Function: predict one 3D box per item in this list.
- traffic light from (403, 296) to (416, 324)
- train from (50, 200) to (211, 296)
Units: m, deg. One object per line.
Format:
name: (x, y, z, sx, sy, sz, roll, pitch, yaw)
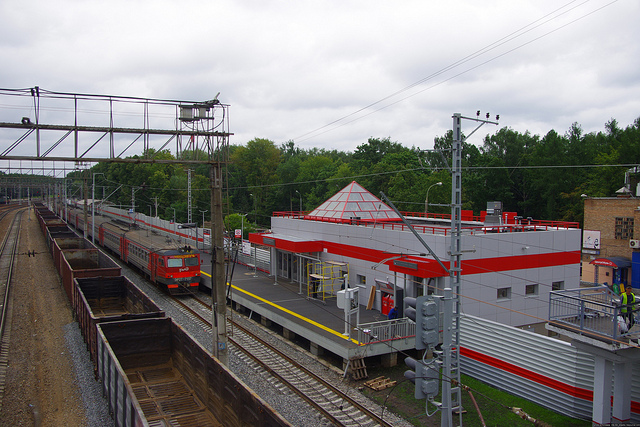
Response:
traffic light: (3.819, 4.014, 23.800, 0.446, 1.154, 1.150, -1, 4, 8)
train: (-18.318, 3.046, 54.727, 28.603, 9.463, 10.867, 1, 1, 42)
